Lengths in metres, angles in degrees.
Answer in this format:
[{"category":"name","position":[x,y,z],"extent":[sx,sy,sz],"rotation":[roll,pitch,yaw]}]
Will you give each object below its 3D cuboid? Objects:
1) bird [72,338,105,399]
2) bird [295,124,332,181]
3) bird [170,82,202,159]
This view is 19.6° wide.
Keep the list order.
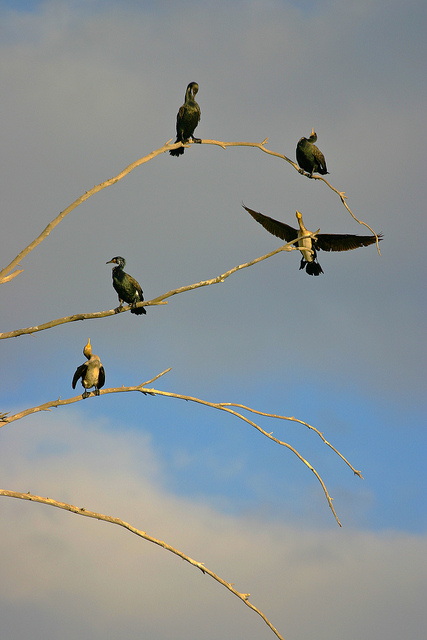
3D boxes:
[{"category":"bird","position":[-1.106,0.443,10.981],"extent":[0.292,0.279,0.468],"rotation":[-9,-99,39]},{"category":"bird","position":[0.945,-1.586,11.851],"extent":[0.380,0.547,0.185],"rotation":[20,-26,-22]},{"category":"bird","position":[-0.271,-1.960,11.878],"extent":[0.192,0.655,0.616],"rotation":[-4,-81,-18]}]
